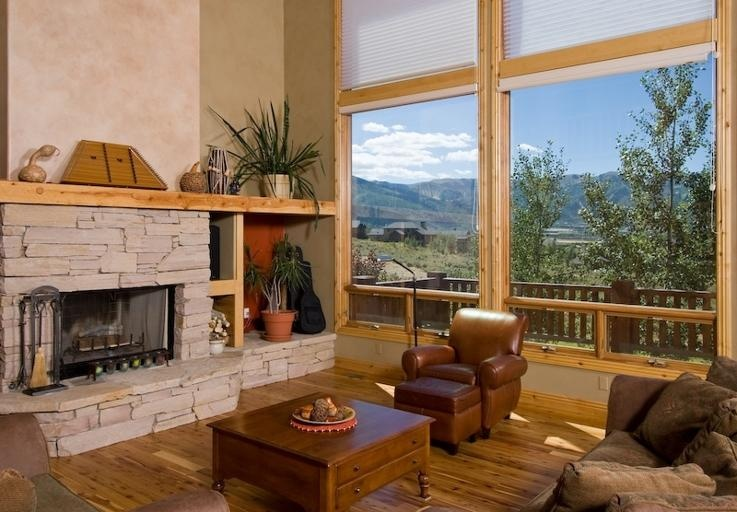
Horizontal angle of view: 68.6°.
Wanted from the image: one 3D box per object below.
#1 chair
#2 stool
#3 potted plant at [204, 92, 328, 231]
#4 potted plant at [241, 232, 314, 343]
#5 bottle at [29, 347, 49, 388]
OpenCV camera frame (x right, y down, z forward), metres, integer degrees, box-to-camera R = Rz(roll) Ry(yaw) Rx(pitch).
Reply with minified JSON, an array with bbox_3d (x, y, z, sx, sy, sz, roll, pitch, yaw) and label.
[{"bbox_3d":[0.879,1.101,5.129,1.037,1.003,1.314,3,8,44],"label":"chair"},{"bbox_3d":[0.626,1.391,4.840,0.680,0.445,0.498,-1,-2,44],"label":"stool"},{"bbox_3d":[-1.477,-1.234,7.366,1.574,1.193,1.581,2,-4,-30],"label":"potted plant"},{"bbox_3d":[-1.191,0.403,6.965,0.814,1.215,0.892,-2,0,9],"label":"potted plant"},{"bbox_3d":[-2.837,0.954,4.691,0.146,0.290,0.247,-1,0,-30],"label":"bottle"}]
